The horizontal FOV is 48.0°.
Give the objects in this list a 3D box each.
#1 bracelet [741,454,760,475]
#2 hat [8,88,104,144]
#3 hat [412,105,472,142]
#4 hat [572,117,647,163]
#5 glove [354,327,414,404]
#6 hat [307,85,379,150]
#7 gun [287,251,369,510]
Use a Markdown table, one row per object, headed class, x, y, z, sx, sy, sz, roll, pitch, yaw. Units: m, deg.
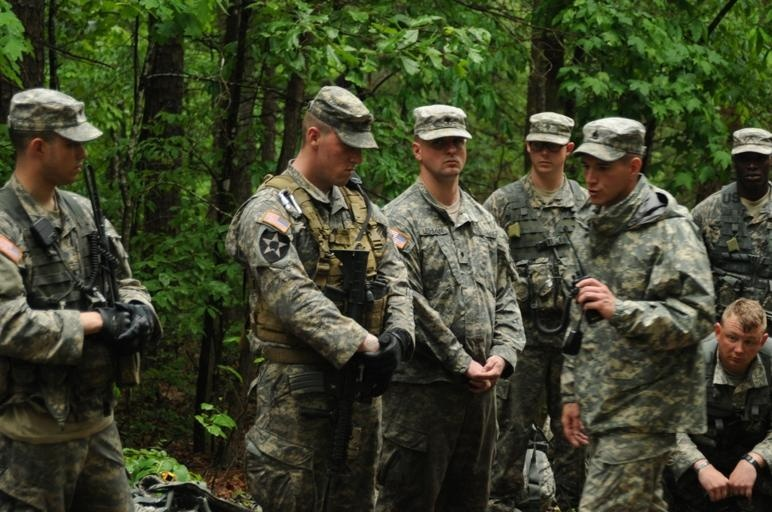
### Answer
| class | x | y | z | sx | sy | sz | roll | pitch | yaw |
| --- | --- | --- | --- | --- | --- | --- | --- | --- | --- |
| bracelet | 2.805 | 1.596 | 6.682 | 0.061 | 0.154 | 0.158 | -44 | 20 | -25 |
| hat | -2.150 | -0.917 | 5.688 | 0.567 | 0.240 | 0.341 | 1 | 13 | -7 |
| hat | 0.431 | -1.045 | 6.772 | 0.464 | 0.257 | 0.548 | -6 | 15 | -23 |
| hat | 1.568 | -0.842 | 6.185 | 0.569 | 0.247 | 0.419 | -13 | 20 | -38 |
| glove | -0.039 | 0.685 | 5.619 | 0.188 | 0.381 | 0.460 | 32 | -1 | -30 |
| hat | -0.281 | -0.948 | 5.835 | 0.531 | 0.218 | 0.329 | 30 | 23 | 0 |
| gun | -0.288 | 0.831 | 5.730 | 0.251 | 1.731 | 0.239 | 5 | -5 | 1 |
